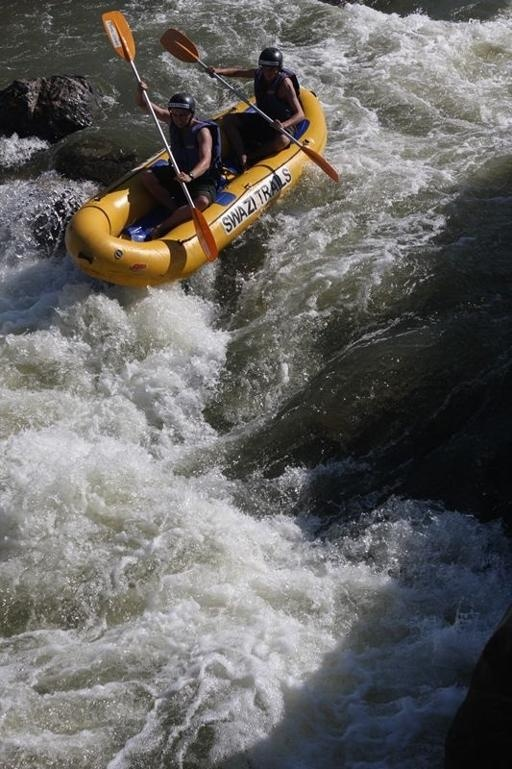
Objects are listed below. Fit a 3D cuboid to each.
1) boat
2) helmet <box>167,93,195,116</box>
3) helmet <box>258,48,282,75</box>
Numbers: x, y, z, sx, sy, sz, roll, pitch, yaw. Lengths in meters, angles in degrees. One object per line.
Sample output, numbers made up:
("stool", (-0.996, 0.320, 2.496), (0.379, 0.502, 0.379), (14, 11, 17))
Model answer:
("boat", (-0.380, -1.593, 8.685), (2.578, 1.061, 0.538), (-37, -11, -21))
("helmet", (-0.627, -2.396, 8.418), (0.175, 0.152, 0.204), (7, 32, 9))
("helmet", (0.149, -3.024, 9.096), (0.206, 0.228, 0.244), (6, -2, 0))
